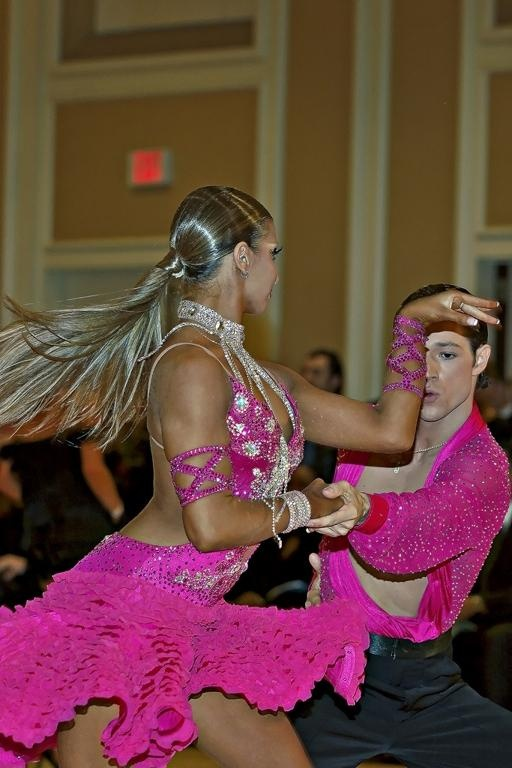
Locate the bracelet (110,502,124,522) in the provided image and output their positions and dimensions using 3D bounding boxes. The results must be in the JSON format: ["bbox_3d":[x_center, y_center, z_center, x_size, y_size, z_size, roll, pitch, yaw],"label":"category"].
[{"bbox_3d":[-0.827,0.770,4.580,0.024,0.087,0.072,10,5,35],"label":"bracelet"}]
